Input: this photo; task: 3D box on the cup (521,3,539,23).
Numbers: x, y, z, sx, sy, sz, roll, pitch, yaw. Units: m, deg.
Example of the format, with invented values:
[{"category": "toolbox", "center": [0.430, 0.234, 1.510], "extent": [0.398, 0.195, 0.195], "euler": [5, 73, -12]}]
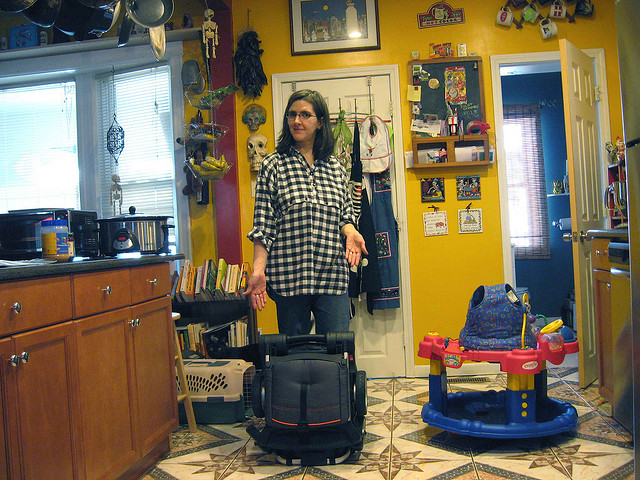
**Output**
[{"category": "cup", "center": [1.678, -1.793, 4.377], "extent": [0.103, 0.150, 0.141], "euler": [7, 17, 27]}]

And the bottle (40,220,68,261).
[{"category": "bottle", "center": [-1.395, 0.000, 2.889], "extent": [0.171, 0.220, 0.169], "euler": [-3, 2, 0]}]

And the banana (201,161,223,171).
[{"category": "banana", "center": [-0.812, -0.557, 4.150], "extent": [0.143, 0.070, 0.043], "euler": [-5, 8, -15]}]

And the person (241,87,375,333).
[{"category": "person", "center": [-0.099, -0.148, 3.103], "extent": [0.673, 1.360, 0.316], "euler": [-3, 7, -5]}]

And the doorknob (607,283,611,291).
[{"category": "doorknob", "center": [1.810, 0.291, 3.425], "extent": [0.032, 0.052, 0.031], "euler": [-2, -5, 27]}]

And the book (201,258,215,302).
[{"category": "book", "center": [-0.880, 0.317, 4.242], "extent": [0.101, 0.311, 0.116], "euler": [-7, 9, -31]}]

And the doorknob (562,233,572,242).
[{"category": "doorknob", "center": [1.765, -0.020, 3.896], "extent": [0.073, 0.055, 0.057], "euler": [-1, -38, 10]}]

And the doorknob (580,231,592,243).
[{"category": "doorknob", "center": [1.868, -0.024, 3.817], "extent": [0.089, 0.052, 0.057], "euler": [10, -5, 36]}]

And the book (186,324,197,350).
[{"category": "book", "center": [-0.972, 0.742, 4.160], "extent": [0.090, 0.155, 0.163], "euler": [-10, 3, -2]}]

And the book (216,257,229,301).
[{"category": "book", "center": [-0.759, 0.280, 4.238], "extent": [0.054, 0.233, 0.226], "euler": [5, -1, -2]}]

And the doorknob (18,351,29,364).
[{"category": "doorknob", "center": [-1.315, 0.522, 2.444], "extent": [0.017, 0.055, 0.052], "euler": [-1, 8, 13]}]

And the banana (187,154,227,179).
[{"category": "banana", "center": [-0.837, -0.526, 4.166], "extent": [0.204, 0.096, 0.209], "euler": [0, -2, 25]}]

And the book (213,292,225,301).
[{"category": "book", "center": [-0.773, 0.438, 4.240], "extent": [0.065, 0.057, 0.064], "euler": [25, -14, -17]}]
